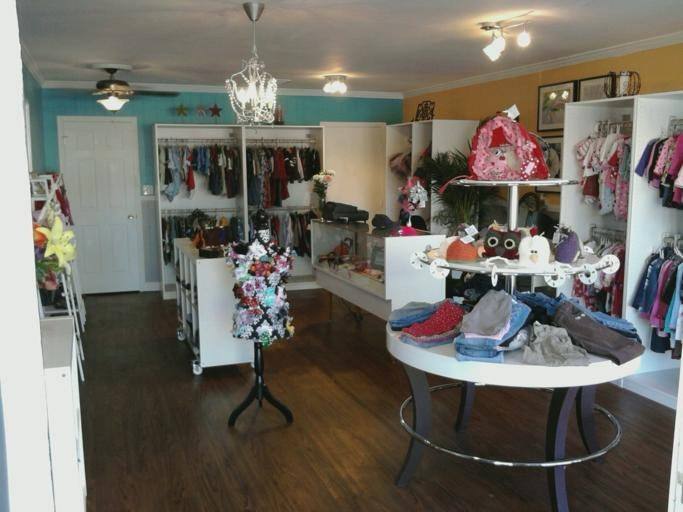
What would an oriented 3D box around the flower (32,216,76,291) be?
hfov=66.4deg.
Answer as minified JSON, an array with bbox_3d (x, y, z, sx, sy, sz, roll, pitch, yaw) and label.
[{"bbox_3d":[-1.387,-0.005,2.458,0.240,0.361,0.327,2,-8,-37],"label":"flower"}]

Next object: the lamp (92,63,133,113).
[{"bbox_3d":[-2.778,-2.038,6.326,0.563,0.547,0.551,-7,14,-31],"label":"lamp"}]

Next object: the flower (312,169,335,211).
[{"bbox_3d":[-0.249,-0.981,7.812,0.334,0.598,0.912,-4,10,-1],"label":"flower"}]

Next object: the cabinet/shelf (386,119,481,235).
[{"bbox_3d":[1.173,-1.000,6.493,0.554,1.796,1.726,-3,7,-19],"label":"cabinet/shelf"}]
